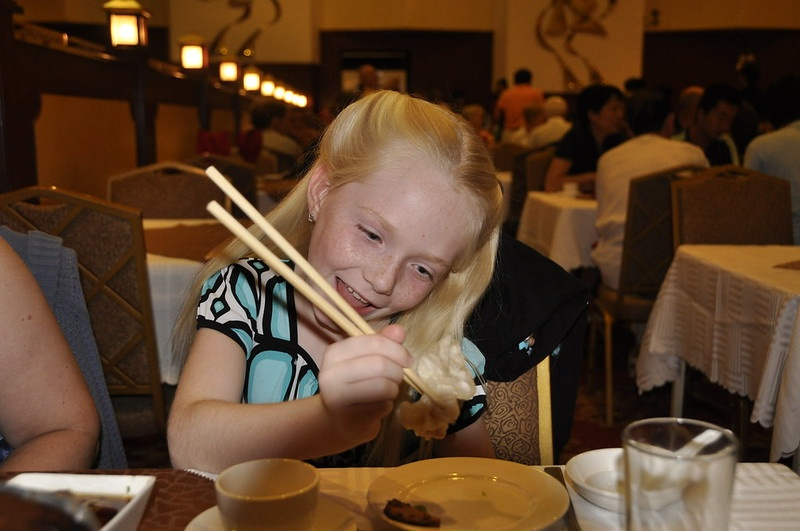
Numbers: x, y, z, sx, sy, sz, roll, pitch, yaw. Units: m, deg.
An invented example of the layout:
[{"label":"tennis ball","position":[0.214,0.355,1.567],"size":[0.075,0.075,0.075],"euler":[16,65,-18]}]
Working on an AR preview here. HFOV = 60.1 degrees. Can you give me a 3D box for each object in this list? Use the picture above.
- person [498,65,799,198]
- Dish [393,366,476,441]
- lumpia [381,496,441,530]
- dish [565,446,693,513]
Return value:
[{"label":"person","position":[1.219,-0.636,3.344],"size":[1.081,0.424,1.117],"euler":[-4,26,-2]},{"label":"Dish","position":[0.056,0.302,1.486],"size":[0.045,0.158,0.164],"euler":[9,-35,-45]},{"label":"lumpia","position":[0.018,0.457,1.269],"size":[0.060,0.015,0.059],"euler":[13,7,-6]},{"label":"dish","position":[0.416,0.399,1.302],"size":[0.222,0.071,0.236],"euler":[-9,-9,-8]}]
